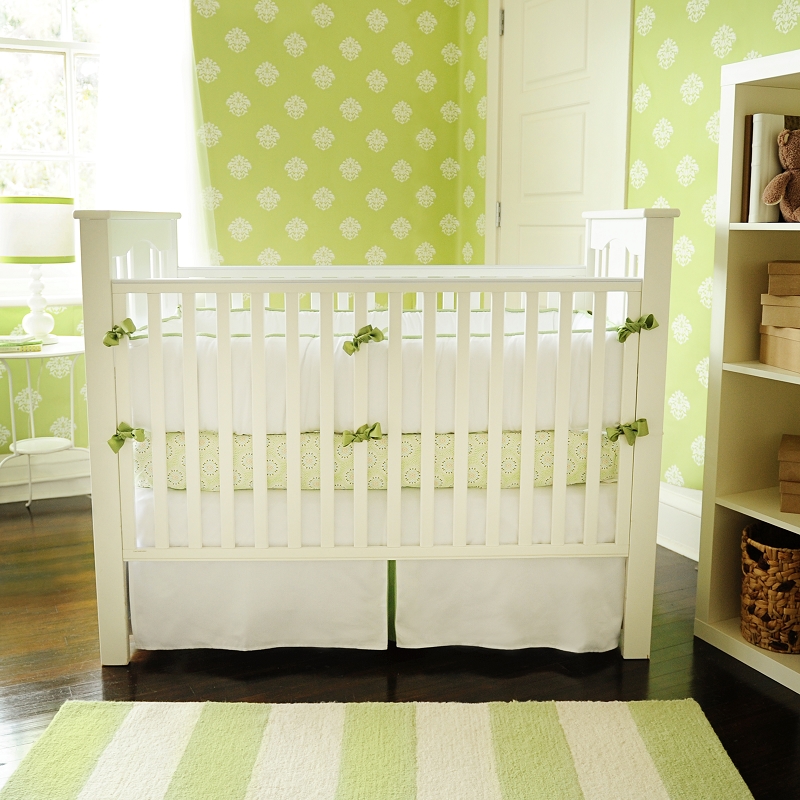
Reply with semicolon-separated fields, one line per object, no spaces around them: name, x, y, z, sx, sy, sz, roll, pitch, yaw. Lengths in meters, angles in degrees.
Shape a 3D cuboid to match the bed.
bed;-0.014;0.191;2.197;1.616;1.241;1.025;0;7;-2
